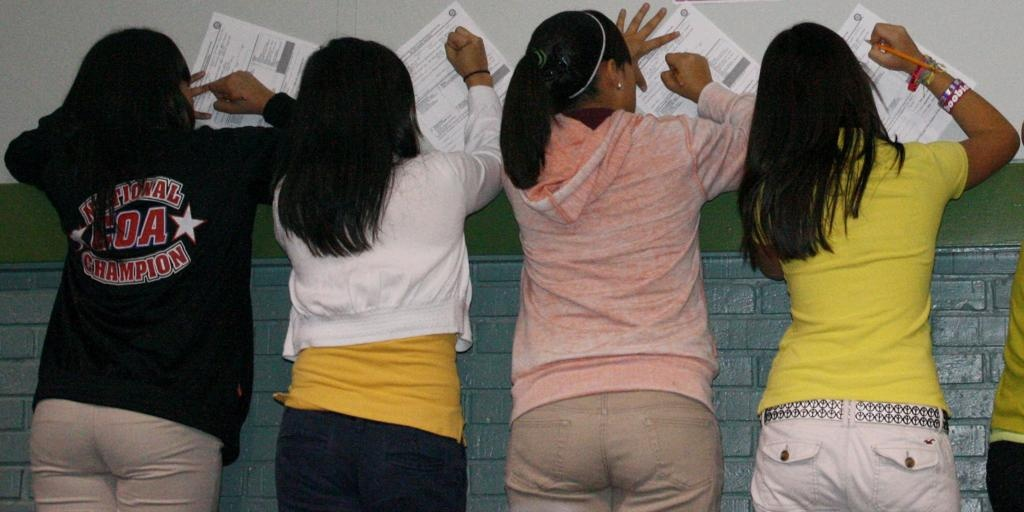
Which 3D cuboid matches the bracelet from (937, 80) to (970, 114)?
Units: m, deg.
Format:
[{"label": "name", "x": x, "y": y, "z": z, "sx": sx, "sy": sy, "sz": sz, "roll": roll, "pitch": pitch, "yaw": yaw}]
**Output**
[{"label": "bracelet", "x": 1.997, "y": -0.725, "z": 5.878, "sx": 0.155, "sy": 0.142, "sz": 0.058, "roll": -31, "pitch": 62, "yaw": -31}]
